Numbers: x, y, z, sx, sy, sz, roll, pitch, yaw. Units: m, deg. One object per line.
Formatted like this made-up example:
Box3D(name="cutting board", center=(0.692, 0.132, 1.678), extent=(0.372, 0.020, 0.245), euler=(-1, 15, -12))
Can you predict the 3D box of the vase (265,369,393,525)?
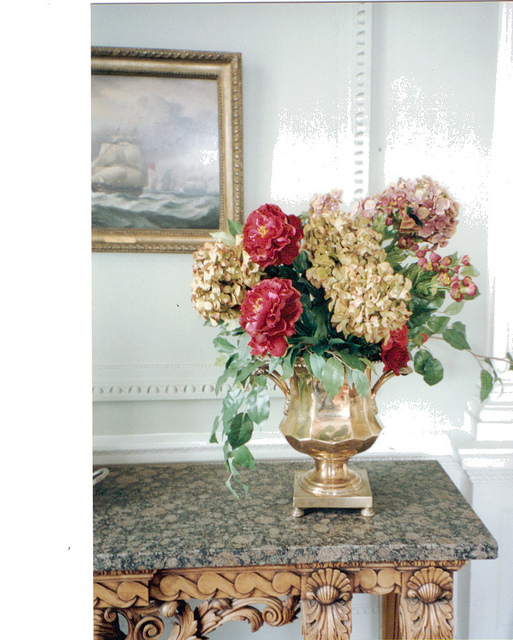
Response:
Box3D(name="vase", center=(0.143, 0.227, 1.233), extent=(0.263, 0.260, 0.197), euler=(0, -8, 6))
